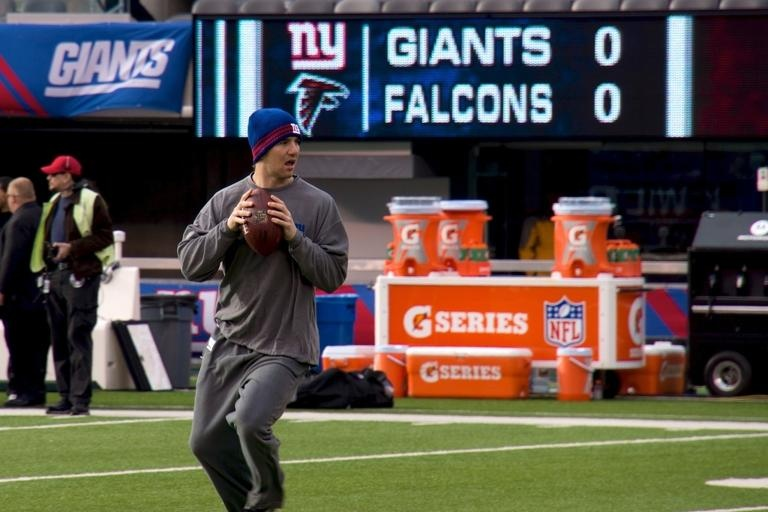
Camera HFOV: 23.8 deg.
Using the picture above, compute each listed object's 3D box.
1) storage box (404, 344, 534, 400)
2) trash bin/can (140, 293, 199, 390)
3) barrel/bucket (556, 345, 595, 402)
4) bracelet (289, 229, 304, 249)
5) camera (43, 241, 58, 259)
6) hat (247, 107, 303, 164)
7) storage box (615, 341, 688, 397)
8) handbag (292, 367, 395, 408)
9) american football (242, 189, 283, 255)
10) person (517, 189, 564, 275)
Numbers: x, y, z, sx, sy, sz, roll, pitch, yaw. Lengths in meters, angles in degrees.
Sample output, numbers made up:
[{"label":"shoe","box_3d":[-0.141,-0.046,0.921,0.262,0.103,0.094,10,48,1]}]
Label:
[{"label":"storage box","box_3d":[1.124,1.498,23.685,1.590,0.647,0.319,0,-1,8]},{"label":"trash bin/can","box_3d":[-2.876,1.121,24.682,0.927,1.134,1.068,1,-5,-20]},{"label":"barrel/bucket","box_3d":[2.466,1.500,23.501,0.451,0.675,0.305,0,-1,3]},{"label":"bracelet","box_3d":[-0.826,-0.185,17.429,0.157,0.174,0.192,3,-5,-4]},{"label":"camera","box_3d":[-3.905,-0.083,21.594,0.090,0.188,0.237,1,-1,-30]},{"label":"hat","box_3d":[-1.072,-1.167,17.552,0.559,0.458,0.520,-4,2,4]},{"label":"storage box","box_3d":[3.417,1.445,24.411,0.638,0.627,0.908,9,1,8]},{"label":"handbag","box_3d":[-0.450,1.701,22.745,1.179,0.612,1.529,-3,-3,17]},{"label":"american football","box_3d":[-1.139,-0.329,17.343,0.316,0.584,0.238,0,8,9]},{"label":"person","box_3d":[2.401,-0.459,28.203,0.567,1.066,0.464,2,-11,0]}]
